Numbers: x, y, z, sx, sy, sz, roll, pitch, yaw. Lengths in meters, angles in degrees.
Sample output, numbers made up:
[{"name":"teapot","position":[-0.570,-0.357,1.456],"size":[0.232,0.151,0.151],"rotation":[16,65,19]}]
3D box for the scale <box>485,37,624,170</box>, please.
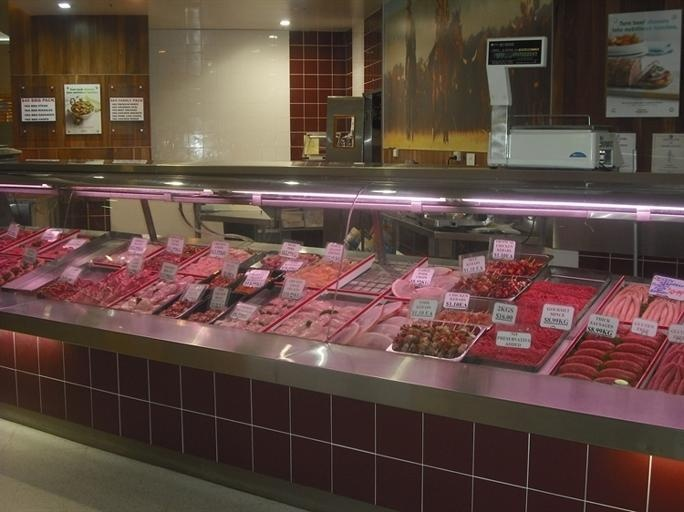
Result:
[{"name":"scale","position":[0.781,-0.563,1.943],"size":[0.469,0.457,0.386],"rotation":[5,13,19]}]
